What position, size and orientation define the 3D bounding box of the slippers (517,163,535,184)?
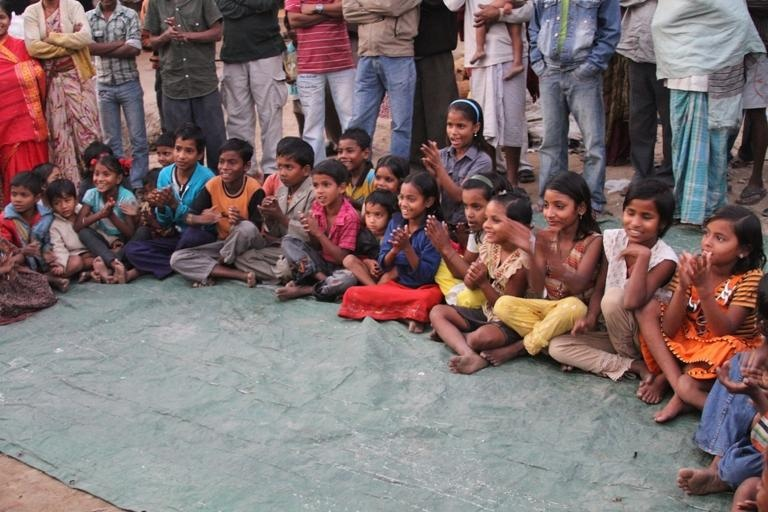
[{"bbox_3d":[1.554,-0.889,6.963,0.155,0.113,0.259,-1,25,2],"label":"slippers"}]
